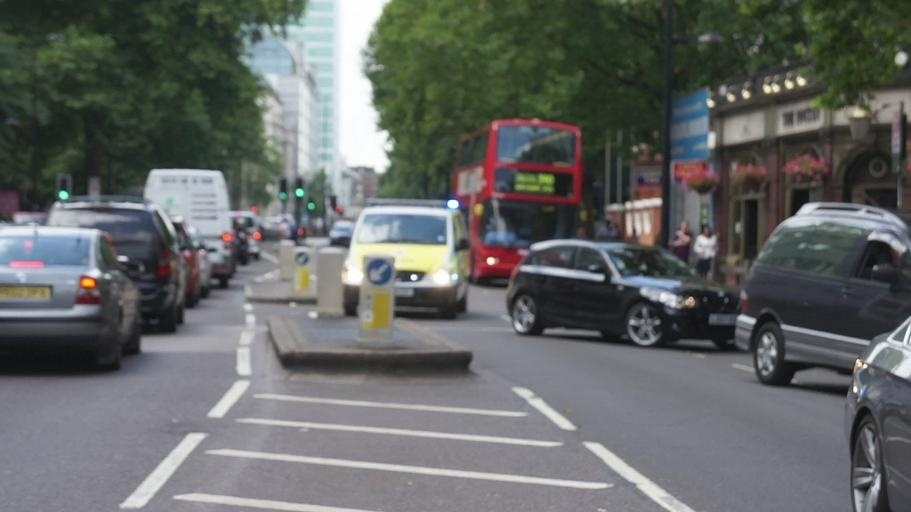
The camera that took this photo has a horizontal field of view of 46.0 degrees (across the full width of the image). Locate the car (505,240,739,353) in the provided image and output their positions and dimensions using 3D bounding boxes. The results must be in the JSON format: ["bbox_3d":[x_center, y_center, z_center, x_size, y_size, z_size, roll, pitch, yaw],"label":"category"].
[{"bbox_3d":[3.551,0.804,22.564,2.154,1.520,4.006,2,-3,-44],"label":"car"}]

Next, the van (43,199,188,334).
[{"bbox_3d":[-6.571,-0.041,21.787,1.799,1.603,3.648,1,6,-2],"label":"van"}]

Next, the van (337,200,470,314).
[{"bbox_3d":[-1.105,0.202,27.421,2.872,2.900,5.387,1,5,0],"label":"van"}]
